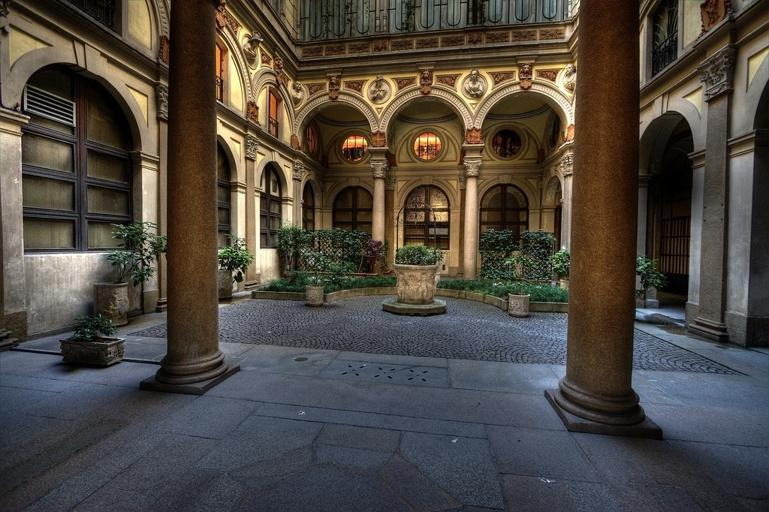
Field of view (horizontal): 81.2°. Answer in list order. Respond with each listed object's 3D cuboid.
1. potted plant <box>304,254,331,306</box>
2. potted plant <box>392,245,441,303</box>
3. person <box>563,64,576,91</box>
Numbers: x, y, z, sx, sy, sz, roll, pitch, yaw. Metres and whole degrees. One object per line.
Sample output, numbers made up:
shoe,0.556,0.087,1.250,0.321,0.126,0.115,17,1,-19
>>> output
potted plant,-2.147,0.744,14.544,1.046,1.611,0.849,3,0,41
potted plant,0.929,0.549,12.798,1.612,1.693,1.481,0,-4,2
person,6.945,-6.662,16.619,0.351,0.958,0.313,0,-1,-2
